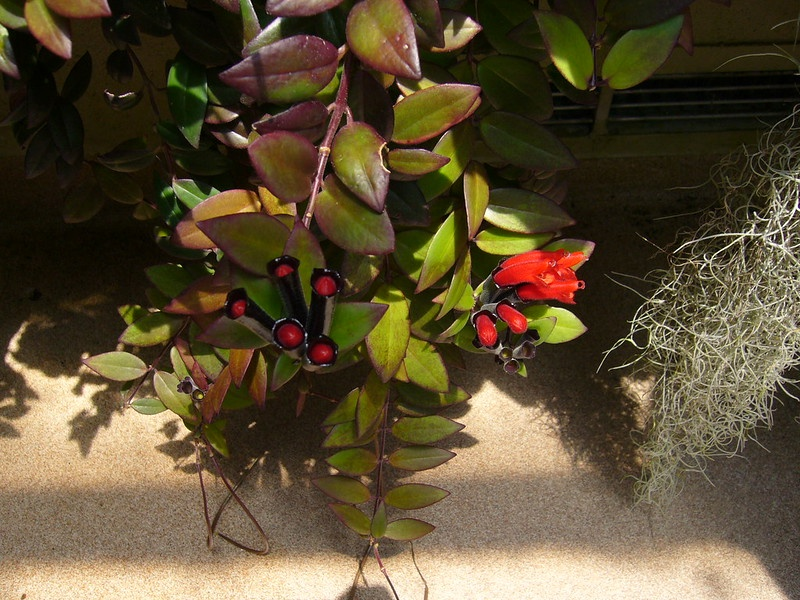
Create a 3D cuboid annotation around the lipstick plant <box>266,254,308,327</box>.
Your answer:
[{"bbox_3d":[-0.154,-0.014,1.434,0.044,0.115,0.039,-4,49,7],"label":"lipstick plant"}]

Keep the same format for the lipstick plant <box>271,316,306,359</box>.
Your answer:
[{"bbox_3d":[-0.150,0.052,1.426,0.051,0.075,0.051,-34,92,-5],"label":"lipstick plant"}]
